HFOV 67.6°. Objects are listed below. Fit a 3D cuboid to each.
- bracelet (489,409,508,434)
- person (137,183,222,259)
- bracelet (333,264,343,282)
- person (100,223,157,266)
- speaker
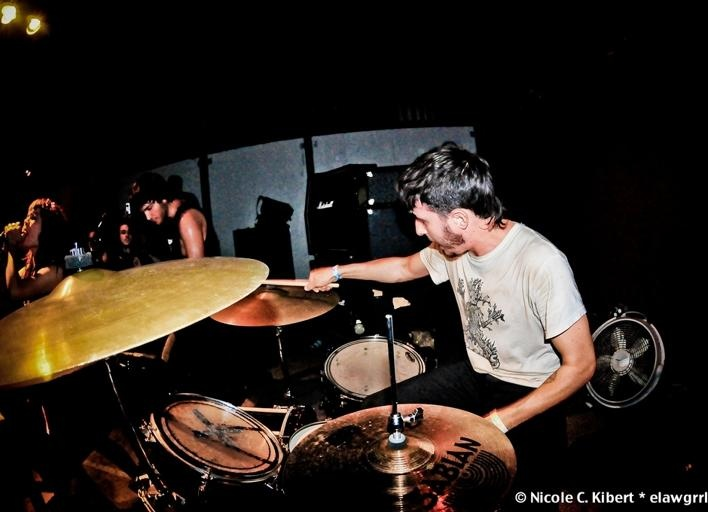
[{"bbox_3d":[0.971,1.116,3.580,0.108,0.150,0.079,-30,-22,-54],"label":"bracelet"},{"bbox_3d":[-1.993,-0.422,6.009,0.788,0.661,1.162,-4,-2,-2],"label":"person"},{"bbox_3d":[-0.138,0.139,4.528,0.048,0.122,0.092,-10,-5,8],"label":"bracelet"},{"bbox_3d":[-2.971,-0.099,6.949,0.789,0.761,0.198,-14,-6,30],"label":"person"},{"bbox_3d":[0.227,-0.464,6.224,1.117,1.686,1.189,9,-17,-12],"label":"speaker"}]
